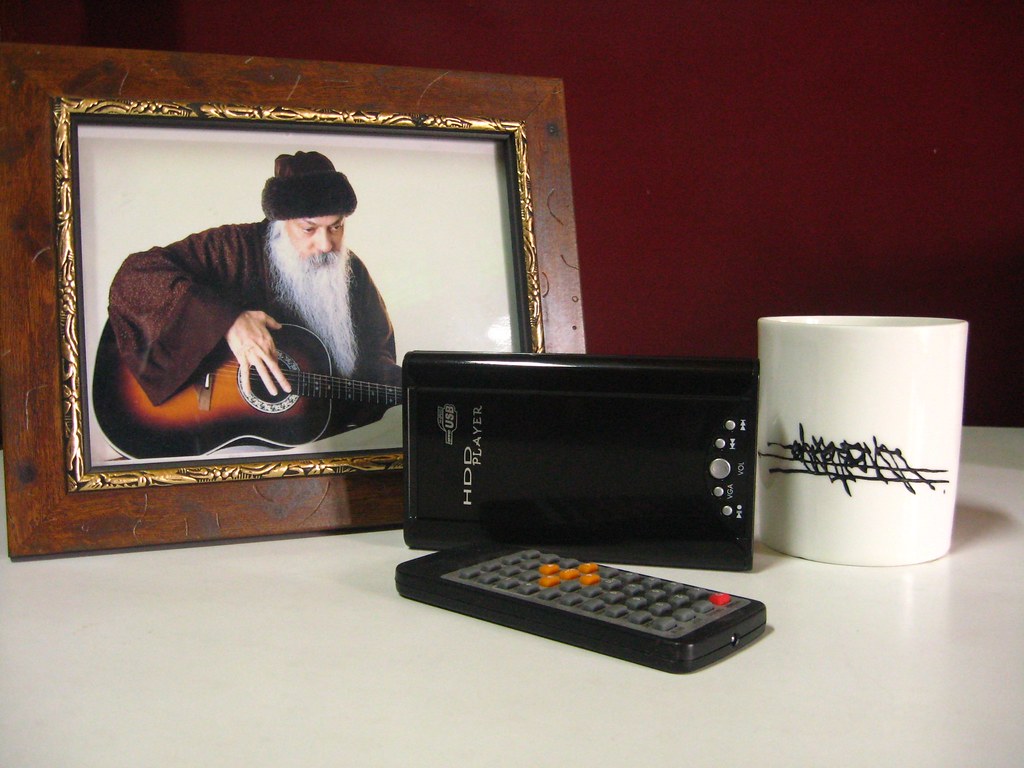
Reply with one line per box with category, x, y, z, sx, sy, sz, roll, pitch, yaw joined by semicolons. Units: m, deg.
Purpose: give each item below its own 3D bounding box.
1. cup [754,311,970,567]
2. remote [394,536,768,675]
cup;0.255;0.040;0.674;0.142;0.154;0.146;3;-4;0
remote;0.042;0.110;0.541;0.183;0.023;0.082;6;10;35
